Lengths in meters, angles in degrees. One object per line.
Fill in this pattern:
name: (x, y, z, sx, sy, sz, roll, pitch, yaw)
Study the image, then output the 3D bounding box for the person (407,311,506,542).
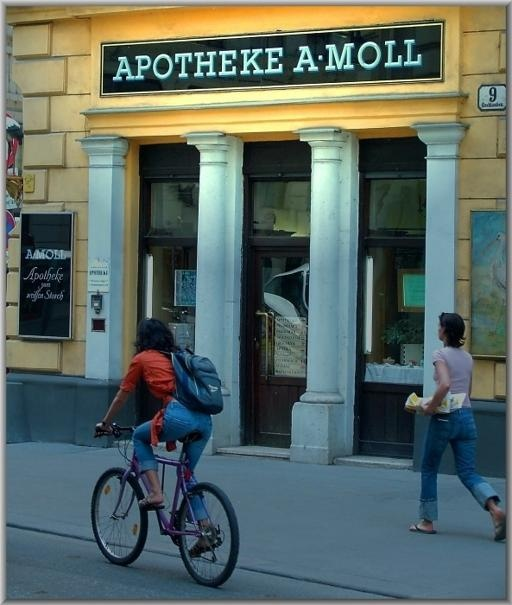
person: (1.440, 0.881, 7.262, 0.658, 1.600, 0.613, 0, 0, 9)

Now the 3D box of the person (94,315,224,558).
person: (-0.593, 0.824, 6.553, 0.784, 1.587, 0.545, -19, -24, 28)

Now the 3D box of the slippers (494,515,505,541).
slippers: (1.691, 1.555, 7.021, 0.068, 0.088, 0.211, -1, -30, -1)

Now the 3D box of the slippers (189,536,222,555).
slippers: (-0.316, 1.453, 6.126, 0.104, 0.088, 0.273, -16, -14, -40)

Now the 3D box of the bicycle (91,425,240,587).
bicycle: (-0.593, 1.264, 6.446, 1.412, 0.907, 0.648, -1, -2, 43)

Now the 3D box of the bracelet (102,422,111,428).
bracelet: (-0.987, 0.785, 6.542, 0.037, 0.023, 0.029, 6, -2, 12)

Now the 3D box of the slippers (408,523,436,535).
slippers: (1.230, 1.647, 7.447, 0.158, 0.049, 0.075, 4, 0, 33)

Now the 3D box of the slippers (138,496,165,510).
slippers: (-0.670, 1.237, 6.309, 0.118, 0.051, 0.075, 3, -7, 8)

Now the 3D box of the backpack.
backpack: (-0.438, 0.502, 6.456, 0.374, 0.421, 0.271, -11, -18, 33)

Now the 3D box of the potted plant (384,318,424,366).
potted plant: (1.587, 0.341, 10.690, 0.488, 0.583, 0.395, 0, 5, 19)
